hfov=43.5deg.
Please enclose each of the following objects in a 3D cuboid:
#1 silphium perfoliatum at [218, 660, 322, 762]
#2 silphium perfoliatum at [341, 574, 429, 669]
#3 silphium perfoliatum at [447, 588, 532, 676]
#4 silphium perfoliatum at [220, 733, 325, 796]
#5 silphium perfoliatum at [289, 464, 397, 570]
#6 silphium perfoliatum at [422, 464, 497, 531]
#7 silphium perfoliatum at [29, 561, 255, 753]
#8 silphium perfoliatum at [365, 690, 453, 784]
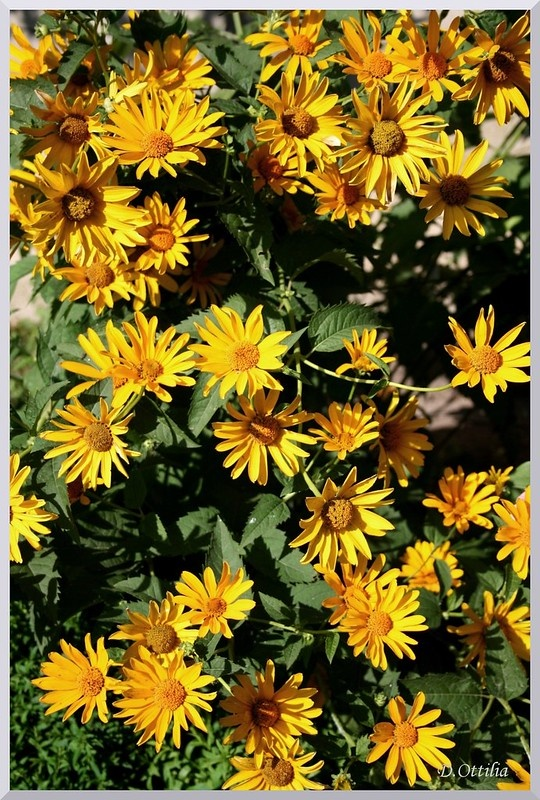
[{"bbox_3d":[-0.006,0.502,1.088,0.172,0.063,0.160,-9,21,-20],"label":"silphium perfoliatum"},{"bbox_3d":[0.189,0.385,1.137,0.133,0.192,0.164,-1,10,11],"label":"silphium perfoliatum"},{"bbox_3d":[0.415,0.446,1.289,0.142,0.198,0.162,1,11,20],"label":"silphium perfoliatum"},{"bbox_3d":[0.005,0.607,1.103,0.166,0.104,0.094,-5,10,-7],"label":"silphium perfoliatum"},{"bbox_3d":[0.118,0.203,1.094,0.151,0.206,0.181,-2,10,8],"label":"silphium perfoliatum"},{"bbox_3d":[0.365,0.179,1.337,0.120,0.051,0.139,-18,-1,0],"label":"silphium perfoliatum"},{"bbox_3d":[-0.183,0.416,1.163,0.365,0.334,0.133,15,-6,13],"label":"silphium perfoliatum"},{"bbox_3d":[0.229,0.553,1.141,0.149,0.155,0.034,23,4,-1],"label":"silphium perfoliatum"}]
